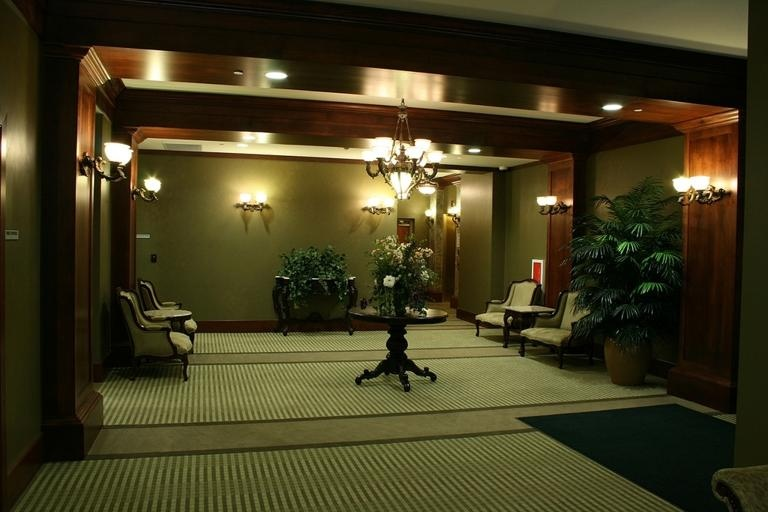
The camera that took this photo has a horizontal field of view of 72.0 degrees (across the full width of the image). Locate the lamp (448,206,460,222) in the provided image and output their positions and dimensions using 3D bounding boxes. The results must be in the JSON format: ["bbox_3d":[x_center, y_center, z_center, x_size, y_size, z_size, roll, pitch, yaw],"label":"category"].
[{"bbox_3d":[2.026,-1.194,15.438,0.233,0.503,0.632,0,5,-9],"label":"lamp"}]

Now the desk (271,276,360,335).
[{"bbox_3d":[-1.433,1.023,11.038,2.373,1.451,1.199,1,-2,-13],"label":"desk"}]

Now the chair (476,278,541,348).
[{"bbox_3d":[2.653,1.059,10.816,1.380,1.483,1.160,3,-2,-18],"label":"chair"}]

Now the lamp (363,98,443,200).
[{"bbox_3d":[0.326,-1.568,7.935,1.558,1.763,1.540,0,-1,4],"label":"lamp"}]

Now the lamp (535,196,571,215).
[{"bbox_3d":[3.198,-0.932,9.924,0.437,0.346,0.505,-1,-1,-15],"label":"lamp"}]

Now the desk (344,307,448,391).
[{"bbox_3d":[0.204,1.333,7.724,1.523,0.986,1.506,-6,-13,26],"label":"desk"}]

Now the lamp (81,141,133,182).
[{"bbox_3d":[-3.073,-1.023,5.961,0.658,0.284,0.270,3,-9,2],"label":"lamp"}]

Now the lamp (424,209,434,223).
[{"bbox_3d":[1.410,-1.208,16.071,0.123,0.461,0.371,-4,7,-39],"label":"lamp"}]

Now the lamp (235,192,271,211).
[{"bbox_3d":[-2.749,-1.111,11.066,0.754,0.398,0.315,0,6,-14],"label":"lamp"}]

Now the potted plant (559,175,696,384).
[{"bbox_3d":[3.521,0.363,7.713,1.493,2.968,1.145,3,6,18],"label":"potted plant"}]

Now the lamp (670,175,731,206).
[{"bbox_3d":[4.100,-0.851,6.799,0.610,0.380,0.425,4,6,34],"label":"lamp"}]

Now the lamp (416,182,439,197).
[{"bbox_3d":[0.761,-1.174,9.181,0.425,0.262,0.396,-1,6,1],"label":"lamp"}]

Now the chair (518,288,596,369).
[{"bbox_3d":[3.049,1.243,9.163,1.337,1.392,1.240,2,-3,-20],"label":"chair"}]
